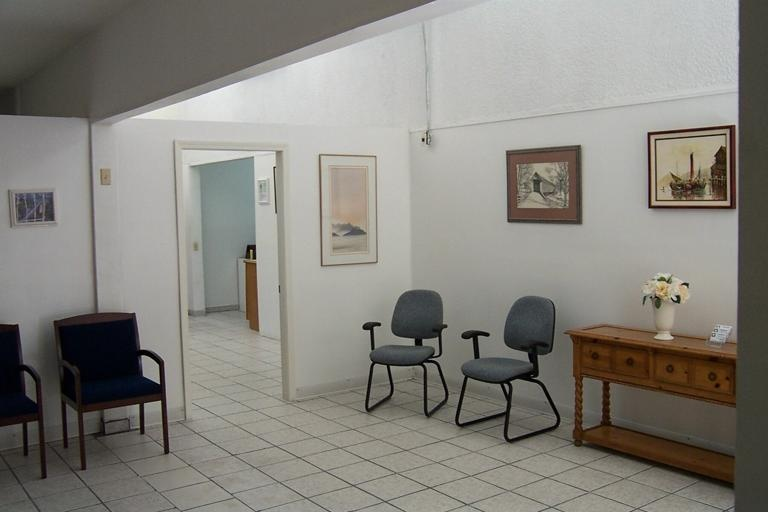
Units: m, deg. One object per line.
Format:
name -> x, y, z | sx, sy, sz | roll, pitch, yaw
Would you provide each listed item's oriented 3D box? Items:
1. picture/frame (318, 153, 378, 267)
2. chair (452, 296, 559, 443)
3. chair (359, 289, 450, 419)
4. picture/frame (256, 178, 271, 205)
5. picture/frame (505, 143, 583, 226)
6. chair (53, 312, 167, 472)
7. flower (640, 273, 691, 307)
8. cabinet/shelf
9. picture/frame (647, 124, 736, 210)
picture/frame -> -0.419, -0.549, 6.602 | 0.795, 1.321, 0.039 | -5, 10, -30
chair -> 1.267, 1.079, 5.430 | 0.894, 1.287, 0.958 | 1, 2, 44
chair -> 0.273, 1.047, 6.060 | 0.904, 1.272, 0.904 | 0, 2, 26
picture/frame -> -1.976, -1.058, 8.827 | 0.091, 0.523, 0.458 | 2, -3, -41
picture/frame -> 1.699, -0.746, 5.586 | 0.919, 0.908, 0.038 | -1, 1, 39
chair -> -2.568, 1.186, 5.059 | 0.798, 1.171, 0.774 | -3, 4, -40
flower -> 2.397, 0.283, 4.574 | 0.330, 0.223, 0.321 | 2, -4, -7
cabinet/shelf -> 2.312, 1.281, 4.587 | 0.521, 0.872, 1.383 | -3, 3, -39
picture/frame -> 2.670, -0.762, 4.608 | 0.795, 0.780, 0.029 | 1, 3, 41
